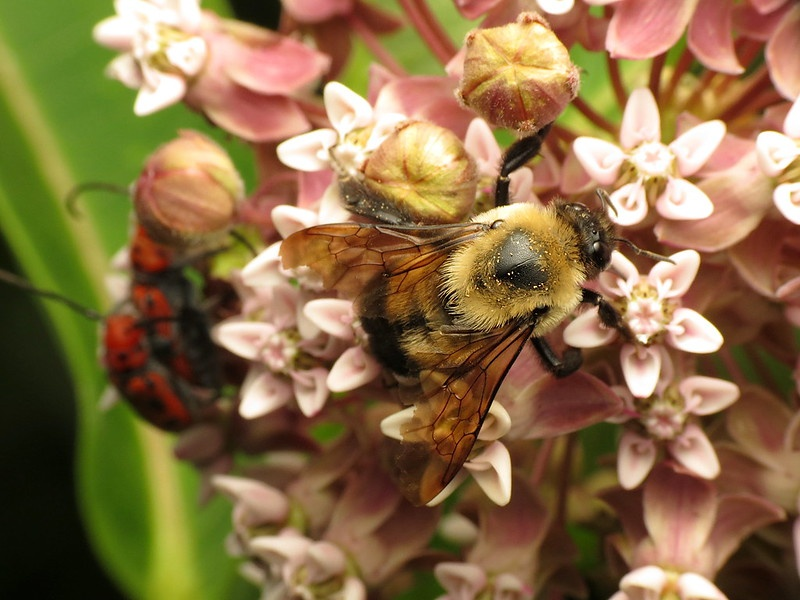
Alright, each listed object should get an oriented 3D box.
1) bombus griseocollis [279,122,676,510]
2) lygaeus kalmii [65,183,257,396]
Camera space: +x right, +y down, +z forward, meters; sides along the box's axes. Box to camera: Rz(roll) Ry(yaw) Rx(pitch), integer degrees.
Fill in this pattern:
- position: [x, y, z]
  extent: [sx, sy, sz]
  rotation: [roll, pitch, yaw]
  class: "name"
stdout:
- position: [0.093, -0.020, 1.476]
  extent: [0.514, 0.167, 0.447]
  rotation: [-37, 81, -8]
  class: "bombus griseocollis"
- position: [-0.353, 0.004, 1.447]
  extent: [0.200, 0.174, 0.351]
  rotation: [-7, 107, -13]
  class: "lygaeus kalmii"
